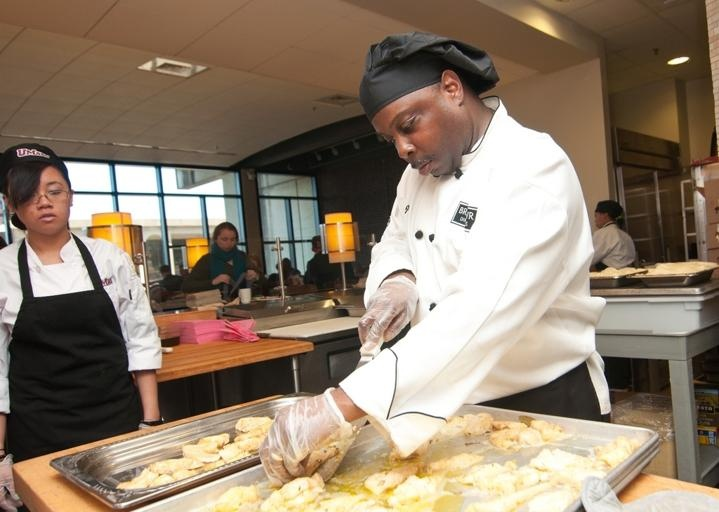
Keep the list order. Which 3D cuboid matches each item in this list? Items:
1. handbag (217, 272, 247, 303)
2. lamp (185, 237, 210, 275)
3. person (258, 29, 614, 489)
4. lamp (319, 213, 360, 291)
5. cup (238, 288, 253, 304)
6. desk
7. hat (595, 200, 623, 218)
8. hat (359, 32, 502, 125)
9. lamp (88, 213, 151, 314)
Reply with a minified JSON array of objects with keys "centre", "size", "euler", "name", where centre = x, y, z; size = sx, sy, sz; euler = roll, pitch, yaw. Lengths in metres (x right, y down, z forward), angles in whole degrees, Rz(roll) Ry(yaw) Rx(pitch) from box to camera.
[{"centre":[-1.364,0.330,5.280],"size":[0.282,0.282,0.440],"euler":[-6,2,-20],"name":"handbag"},{"centre":[-2.474,0.013,7.010],"size":[0.322,0.480,0.321],"euler":[-7,2,11],"name":"lamp"},{"centre":[0.241,-0.024,1.398],"size":[0.830,0.940,0.795],"euler":[-5,2,25],"name":"person"},{"centre":[-0.157,-0.012,4.301],"size":[0.354,0.703,0.356],"euler":[-3,10,8],"name":"lamp"},{"centre":[-0.967,0.327,3.993],"size":[0.137,0.141,0.113],"euler":[1,3,12],"name":"cup"},{"centre":[-0.751,0.548,2.768],"size":[0.538,0.399,0.533],"euler":[-2,2,-36],"name":"desk"},{"centre":[2.926,-0.556,5.700],"size":[0.195,0.200,0.249],"euler":[4,22,-36],"name":"hat"},{"centre":[0.198,-0.509,1.419],"size":[0.334,0.177,0.269],"euler":[-14,0,-13],"name":"hat"},{"centre":[-1.438,-0.065,2.889],"size":[0.220,0.371,0.207],"euler":[2,2,12],"name":"lamp"}]
